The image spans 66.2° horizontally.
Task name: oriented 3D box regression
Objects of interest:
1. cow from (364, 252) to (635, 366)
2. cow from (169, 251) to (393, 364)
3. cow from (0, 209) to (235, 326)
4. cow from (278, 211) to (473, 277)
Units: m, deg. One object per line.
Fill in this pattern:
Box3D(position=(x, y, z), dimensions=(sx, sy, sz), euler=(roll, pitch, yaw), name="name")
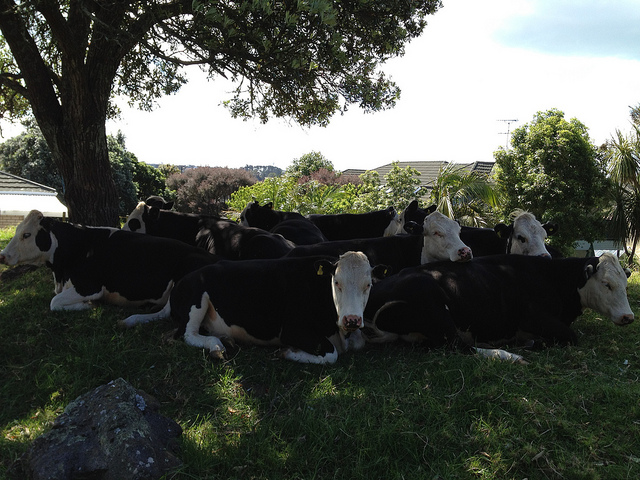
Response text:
Box3D(position=(2.376, 0.748, 6.781), dimensions=(3.159, 1.523, 1.554), euler=(0, -1, -13), name="cow")
Box3D(position=(-0.622, 0.803, 6.073), dimensions=(2.156, 1.239, 1.338), euler=(1, -3, 3), name="cow")
Box3D(position=(-2.963, 0.430, 7.672), dimensions=(3.897, 2.027, 1.499), euler=(3, -10, 11), name="cow")
Box3D(position=(0.819, 0.513, 7.508), dimensions=(2.648, 1.512, 0.895), euler=(-3, -27, 1), name="cow")
